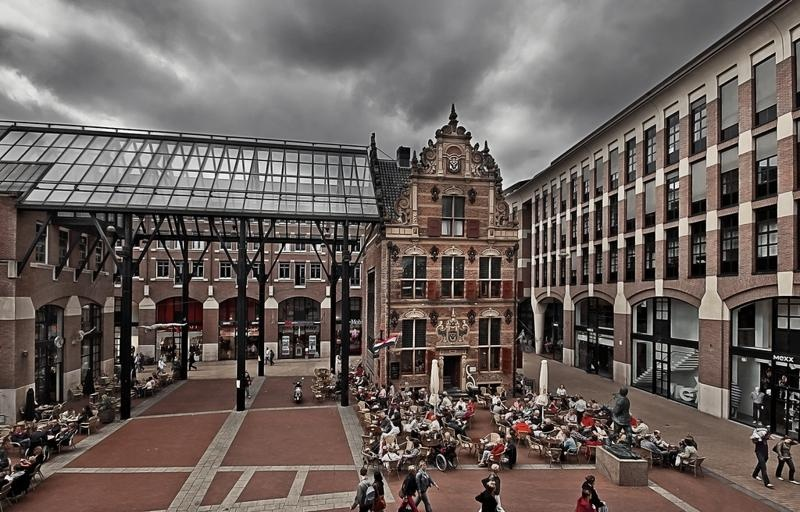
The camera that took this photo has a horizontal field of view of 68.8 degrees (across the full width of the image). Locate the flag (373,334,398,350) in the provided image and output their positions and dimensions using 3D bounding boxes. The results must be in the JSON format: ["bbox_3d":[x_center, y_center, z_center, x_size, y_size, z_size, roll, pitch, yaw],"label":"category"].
[{"bbox_3d":[-1.029,6.325,42.765,1.438,1.239,2.181,0,-10,10],"label":"flag"}]

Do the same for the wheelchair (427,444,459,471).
[{"bbox_3d":[2.453,11.676,34.507,1.145,1.499,1.792,3,8,-18],"label":"wheelchair"}]

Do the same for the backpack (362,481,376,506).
[{"bbox_3d":[-1.547,12.005,29.659,0.681,1.108,0.211,5,-10,-18],"label":"backpack"}]

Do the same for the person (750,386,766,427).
[{"bbox_3d":[23.857,9.830,38.626,0.702,2.382,0.519,-1,-10,15],"label":"person"}]

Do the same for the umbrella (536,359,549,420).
[{"bbox_3d":[10.250,9.591,41.926,0.933,4.202,0.833,34,-50,-20],"label":"umbrella"}]
